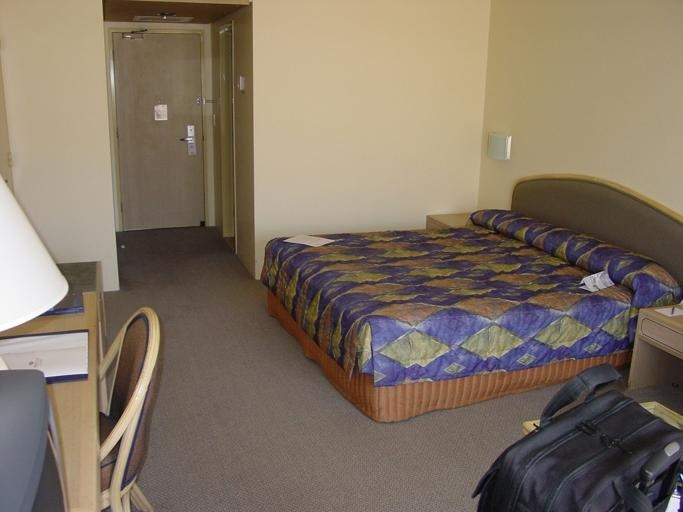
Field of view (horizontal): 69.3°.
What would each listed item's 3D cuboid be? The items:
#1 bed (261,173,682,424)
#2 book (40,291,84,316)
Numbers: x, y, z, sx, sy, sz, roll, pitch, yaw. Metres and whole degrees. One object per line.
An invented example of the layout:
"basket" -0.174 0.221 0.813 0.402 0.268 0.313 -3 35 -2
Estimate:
"bed" 1.100 0.210 3.650 2.359 1.010 2.206 -6 19 -19
"book" -1.349 0.242 2.408 0.154 0.033 0.149 -4 17 -23
